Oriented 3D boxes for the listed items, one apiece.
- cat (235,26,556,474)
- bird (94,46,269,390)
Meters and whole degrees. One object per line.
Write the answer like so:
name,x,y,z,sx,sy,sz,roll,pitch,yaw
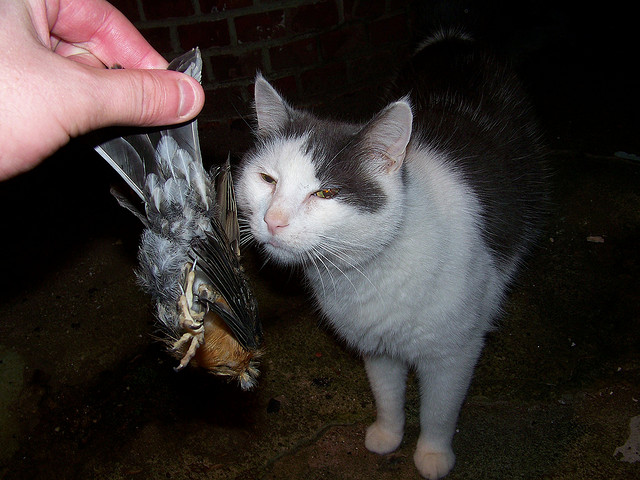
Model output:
cat,0.320,-0.092,2.447,0.991,1.094,1.204,25,49,24
bird,-0.400,0.066,2.130,0.505,0.418,1.155,-21,48,0
